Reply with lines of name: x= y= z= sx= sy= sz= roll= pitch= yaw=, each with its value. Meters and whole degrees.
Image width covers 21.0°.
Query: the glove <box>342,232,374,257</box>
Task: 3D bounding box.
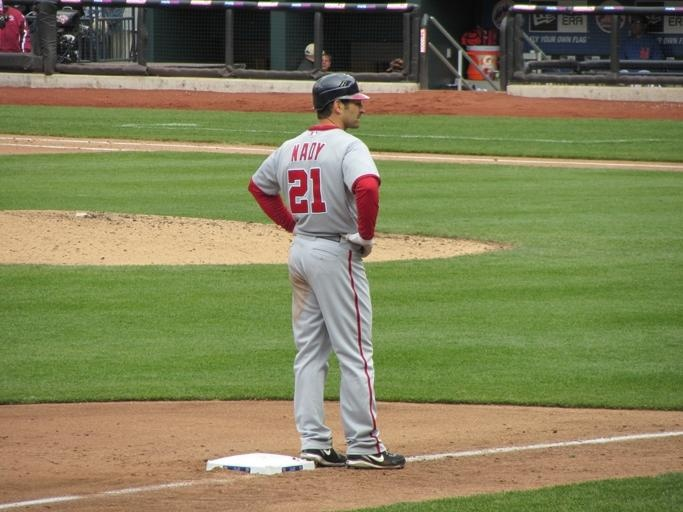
glove: x=0.249 y=-0.146 z=25.138 sx=0.384 sy=0.278 sz=0.304 roll=33 pitch=10 yaw=40

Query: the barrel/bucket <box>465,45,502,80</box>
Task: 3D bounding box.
barrel/bucket: x=3.668 y=-5.102 z=48.968 sx=0.954 sy=0.953 sz=0.970 roll=2 pitch=2 yaw=0

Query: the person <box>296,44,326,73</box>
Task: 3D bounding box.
person: x=-0.634 y=-4.702 z=43.945 sx=0.809 sy=0.704 sz=0.664 roll=0 pitch=5 yaw=23

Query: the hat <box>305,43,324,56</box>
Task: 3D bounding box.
hat: x=-0.719 y=-4.925 z=44.338 sx=0.279 sy=0.336 sz=0.349 roll=-1 pitch=18 yaw=-33

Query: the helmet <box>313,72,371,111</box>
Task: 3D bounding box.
helmet: x=-0.001 y=-2.229 z=25.219 sx=0.726 sy=0.368 sz=0.460 roll=-4 pitch=10 yaw=-6
